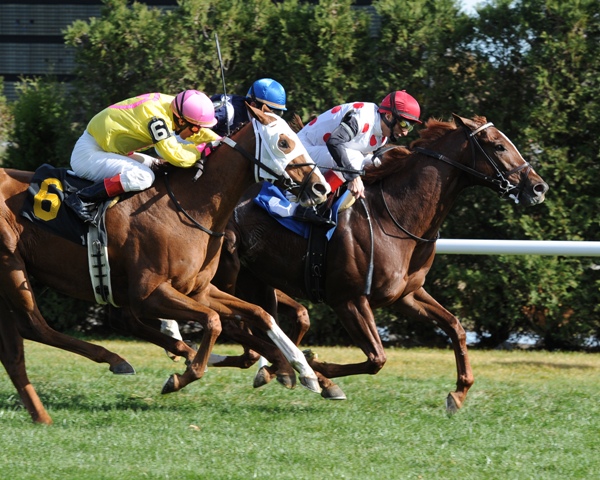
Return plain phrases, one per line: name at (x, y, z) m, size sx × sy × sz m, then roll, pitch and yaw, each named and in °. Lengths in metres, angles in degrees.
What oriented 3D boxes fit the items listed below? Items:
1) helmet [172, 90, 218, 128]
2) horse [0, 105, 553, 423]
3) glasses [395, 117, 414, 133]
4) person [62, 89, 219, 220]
helmet at (-0.615, -0.805, 5.373) m, size 0.293 × 0.134 × 0.200 m, roll 30°, pitch 48°, yaw 7°
horse at (-0.215, 0.147, 5.682) m, size 3.344 × 1.888 × 0.764 m, roll -2°, pitch 10°, yaw -11°
glasses at (0.742, -0.784, 6.051) m, size 0.112 × 0.075 × 0.065 m, roll 38°, pitch 56°, yaw 20°
person at (-0.999, -0.544, 5.502) m, size 0.937 × 0.631 × 0.525 m, roll 2°, pitch 20°, yaw -11°
